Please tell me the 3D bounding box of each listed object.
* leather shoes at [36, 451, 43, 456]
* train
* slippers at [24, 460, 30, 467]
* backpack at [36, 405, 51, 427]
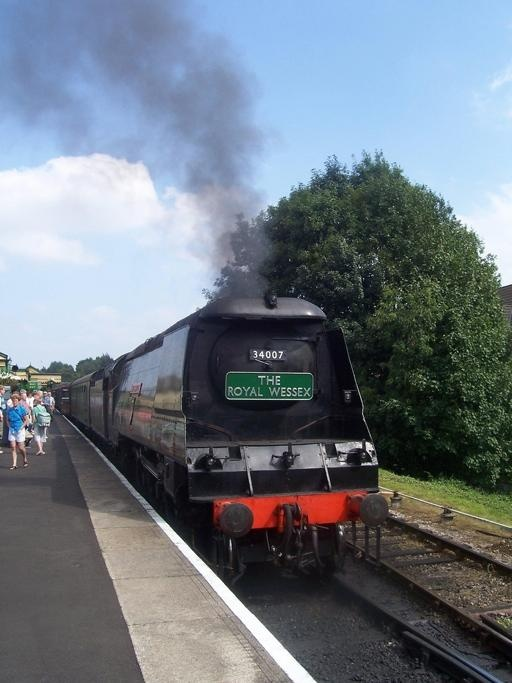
[{"bbox_3d":[-6.002,3.106,13.928,0.261,0.115,0.080,1,-8,-12],"label":"leather shoes"},{"bbox_3d":[-0.500,1.303,8.088,2.366,3.452,6.083,7,-11,-20],"label":"train"},{"bbox_3d":[-5.242,2.817,11.427,0.160,0.153,0.162,-1,11,-16],"label":"slippers"},{"bbox_3d":[-6.075,2.110,14.219,0.432,0.639,0.619,3,-2,-42],"label":"backpack"}]
